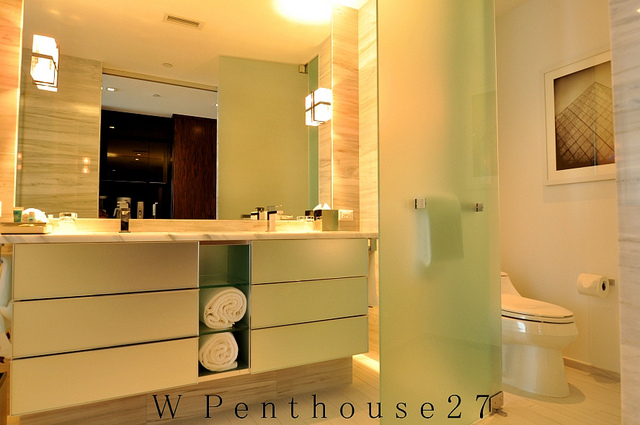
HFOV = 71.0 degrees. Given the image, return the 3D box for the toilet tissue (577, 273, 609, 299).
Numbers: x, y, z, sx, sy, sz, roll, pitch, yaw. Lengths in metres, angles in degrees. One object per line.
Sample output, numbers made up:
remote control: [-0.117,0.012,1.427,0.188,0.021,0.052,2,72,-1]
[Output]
toilet tissue: [2.003,0.520,3.345,0.171,0.202,0.229,3,-5,-29]

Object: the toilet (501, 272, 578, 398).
toilet: [1.553,0.972,3.352,0.463,0.559,0.656,-2,2,4]

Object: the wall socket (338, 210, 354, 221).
wall socket: [0.221,0.023,3.815,0.171,0.094,0.042,-3,2,-38]

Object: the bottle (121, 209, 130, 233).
bottle: [-1.326,0.053,3.077,0.053,0.151,0.081,-1,2,18]

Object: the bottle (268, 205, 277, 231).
bottle: [-0.372,0.036,3.501,0.070,0.189,0.212,-2,2,-5]

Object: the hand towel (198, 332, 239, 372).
hand towel: [-0.630,0.922,3.025,0.298,0.218,0.409,0,0,0]

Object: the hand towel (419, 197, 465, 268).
hand towel: [0.619,0.106,2.328,0.393,0.374,0.062,0,-1,-40]

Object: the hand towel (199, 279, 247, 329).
hand towel: [-0.649,0.589,2.954,0.247,0.283,0.216,8,0,30]
